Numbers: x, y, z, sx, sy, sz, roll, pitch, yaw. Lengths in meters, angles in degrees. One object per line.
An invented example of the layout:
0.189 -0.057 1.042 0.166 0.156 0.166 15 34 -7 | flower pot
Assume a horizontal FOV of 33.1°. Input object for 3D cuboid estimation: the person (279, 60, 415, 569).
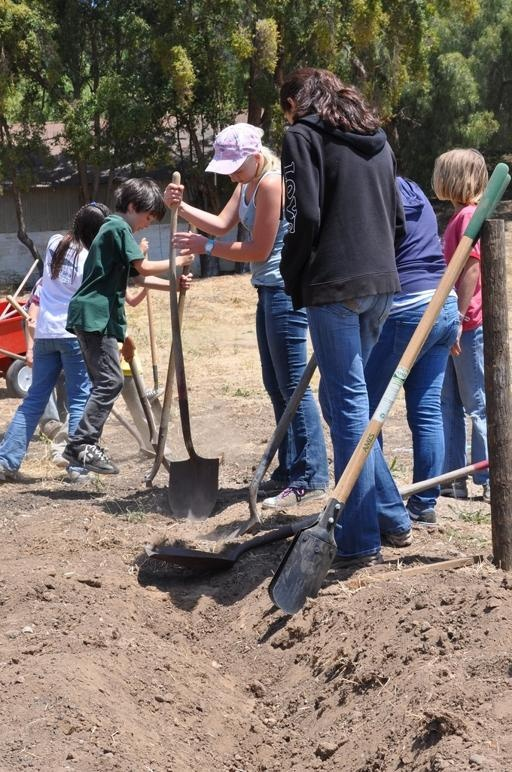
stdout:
0.345 -0.271 3.361 0.379 1.929 0.743 5 5 45 | person
